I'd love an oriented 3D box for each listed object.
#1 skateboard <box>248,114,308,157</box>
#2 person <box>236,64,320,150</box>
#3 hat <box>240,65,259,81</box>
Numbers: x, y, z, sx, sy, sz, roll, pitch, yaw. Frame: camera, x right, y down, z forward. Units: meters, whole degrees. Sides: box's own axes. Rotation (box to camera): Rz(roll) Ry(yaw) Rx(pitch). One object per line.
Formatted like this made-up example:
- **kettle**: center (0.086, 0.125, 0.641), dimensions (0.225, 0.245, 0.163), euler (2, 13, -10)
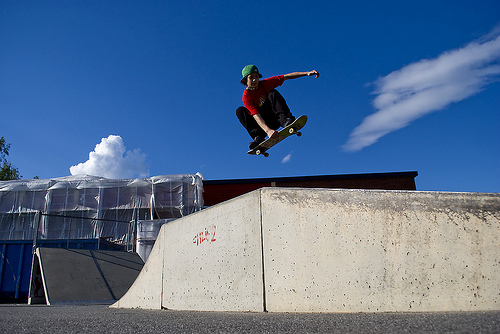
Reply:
- **skateboard**: center (0.392, -0.680, 7.338), dimensions (1.343, 0.209, 0.291), euler (-38, -34, 16)
- **person**: center (0.314, -1.042, 7.174), dimensions (1.492, 0.887, 0.775), euler (-36, -26, 27)
- **hat**: center (0.003, -1.649, 7.243), dimensions (0.257, 0.231, 0.573), euler (-1, -1, -2)
